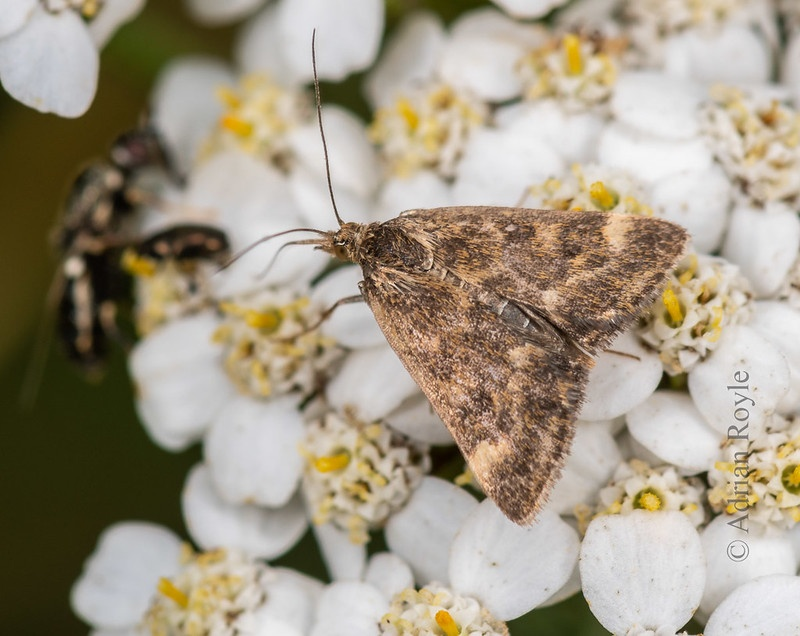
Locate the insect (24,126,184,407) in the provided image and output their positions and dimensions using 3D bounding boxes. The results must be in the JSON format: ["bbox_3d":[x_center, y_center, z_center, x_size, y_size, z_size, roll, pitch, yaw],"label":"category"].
[{"bbox_3d":[-0.476,-0.098,1.885,0.101,0.348,0.350,26,88,22],"label":"insect"}]
